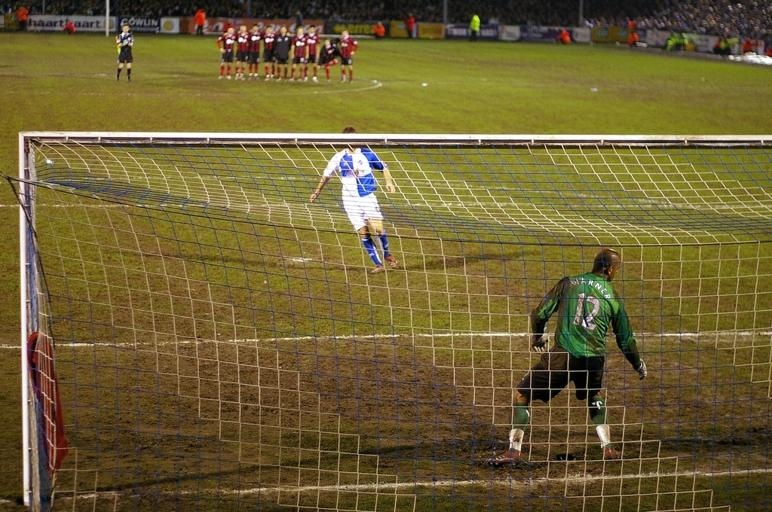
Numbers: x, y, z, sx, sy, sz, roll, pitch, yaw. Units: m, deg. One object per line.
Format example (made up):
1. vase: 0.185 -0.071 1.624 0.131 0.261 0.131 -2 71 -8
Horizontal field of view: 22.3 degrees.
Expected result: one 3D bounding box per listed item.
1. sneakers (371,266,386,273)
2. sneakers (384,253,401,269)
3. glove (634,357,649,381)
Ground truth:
1. sneakers: -0.259 0.405 51.792 0.434 0.136 0.300 5 2 43
2. sneakers: 0.132 0.185 52.131 0.585 0.198 0.233 24 33 -7
3. glove: 6.210 2.836 47.737 0.263 0.638 0.313 1 -7 26
